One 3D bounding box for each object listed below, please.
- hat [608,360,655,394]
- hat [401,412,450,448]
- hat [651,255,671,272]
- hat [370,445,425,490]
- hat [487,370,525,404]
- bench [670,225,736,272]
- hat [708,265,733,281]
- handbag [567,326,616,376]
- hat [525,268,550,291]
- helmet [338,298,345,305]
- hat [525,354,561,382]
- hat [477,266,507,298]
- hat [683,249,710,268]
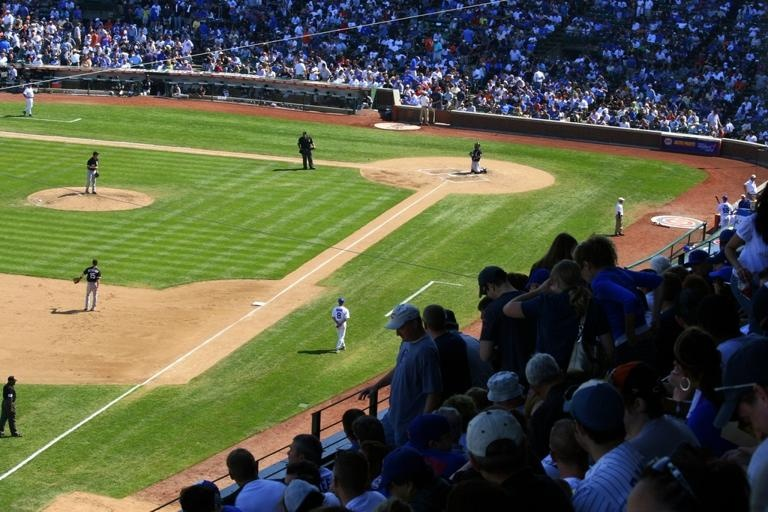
[{"bbox_3d":[5.115,2.623,25.088,0.951,0.440,0.558,-9,15,11],"label":"hat"},{"bbox_3d":[0.943,3.941,26.042,0.882,0.724,0.426,4,19,0],"label":"hat"},{"bbox_3d":[6.832,0.208,30.162,0.522,0.377,0.467,-6,-4,30],"label":"hat"},{"bbox_3d":[-0.041,4.545,25.288,0.870,0.525,1.075,19,27,23],"label":"hat"},{"bbox_3d":[2.635,3.080,26.691,0.754,0.788,0.541,5,19,4],"label":"hat"},{"bbox_3d":[9.363,-0.206,35.677,2.791,1.136,1.644,3,18,32],"label":"bench"},{"bbox_3d":[8.120,0.480,29.339,0.462,0.367,0.816,7,16,9],"label":"hat"},{"bbox_3d":[4.601,2.238,27.372,0.929,1.219,1.287,5,7,27],"label":"handbag"},{"bbox_3d":[3.589,0.575,28.381,0.471,0.537,0.988,6,17,7],"label":"hat"},{"bbox_3d":[-1.420,1.531,38.969,0.221,0.198,0.195,15,43,-8],"label":"helmet"},{"bbox_3d":[3.363,2.542,26.503,0.740,0.531,0.686,-20,15,-10],"label":"hat"},{"bbox_3d":[2.495,0.673,28.196,0.656,0.814,0.388,12,21,22],"label":"hat"},{"bbox_3d":[7.889,0.068,30.024,0.787,0.300,0.490,-17,14,-17],"label":"hat"}]
